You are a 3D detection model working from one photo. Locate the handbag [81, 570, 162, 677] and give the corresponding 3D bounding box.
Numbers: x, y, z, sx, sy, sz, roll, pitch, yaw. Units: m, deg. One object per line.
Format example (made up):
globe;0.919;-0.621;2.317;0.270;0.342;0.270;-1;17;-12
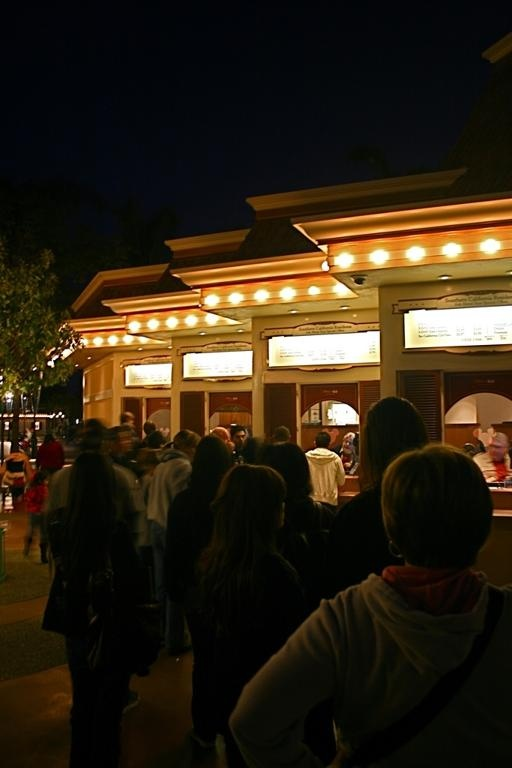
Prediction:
handbag;-0.663;1.199;3.087;0.356;0.501;0.152;2;-5;-13
